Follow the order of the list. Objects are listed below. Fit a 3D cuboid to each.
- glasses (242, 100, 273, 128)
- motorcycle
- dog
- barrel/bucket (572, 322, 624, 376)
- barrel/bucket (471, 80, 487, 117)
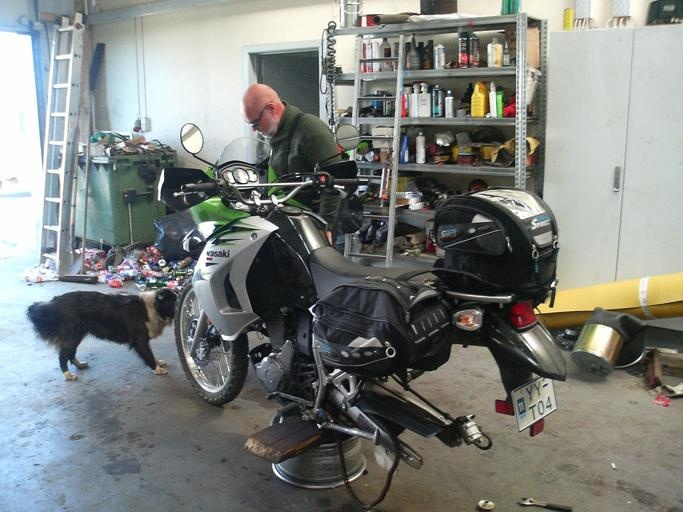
[{"bbox_3d":[-0.533,-0.923,3.224,0.188,0.070,0.156,2,52,-2],"label":"glasses"},{"bbox_3d":[0.001,0.280,2.444,1.004,1.854,1.917,-12,17,-41],"label":"motorcycle"},{"bbox_3d":[-1.690,0.567,3.735,1.238,0.566,0.293,-4,2,5],"label":"dog"},{"bbox_3d":[1.841,0.682,3.564,0.302,0.364,0.253,7,15,30],"label":"barrel/bucket"},{"bbox_3d":[1.301,-1.471,4.668,0.162,0.332,0.203,3,13,13],"label":"barrel/bucket"}]
